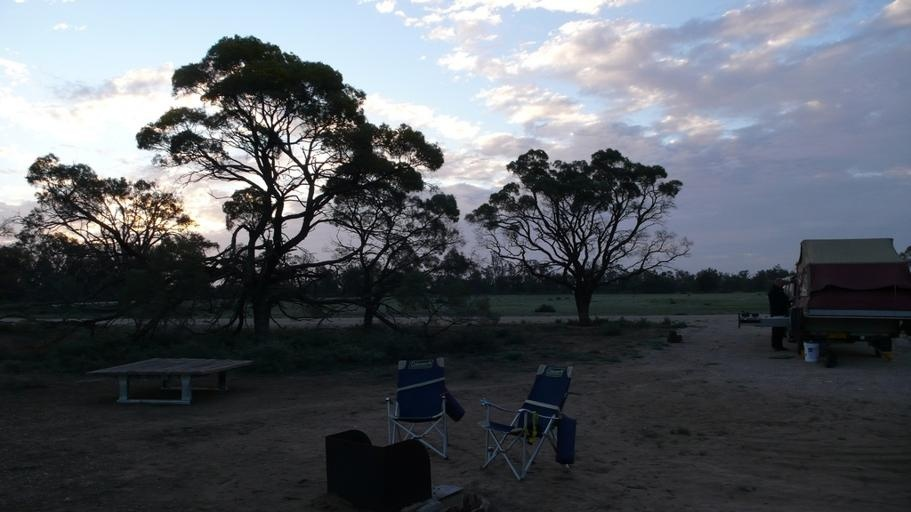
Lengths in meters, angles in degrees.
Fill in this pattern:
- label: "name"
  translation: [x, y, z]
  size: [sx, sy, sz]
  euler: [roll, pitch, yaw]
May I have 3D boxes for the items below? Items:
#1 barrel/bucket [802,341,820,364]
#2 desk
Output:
- label: "barrel/bucket"
  translation: [13.444, 3.583, 22.152]
  size: [0.552, 0.706, 0.504]
  euler: [0, 2, 0]
- label: "desk"
  translation: [-9.224, 4.058, 19.493]
  size: [3.739, 1.101, 2.409]
  euler: [0, 1, 6]
